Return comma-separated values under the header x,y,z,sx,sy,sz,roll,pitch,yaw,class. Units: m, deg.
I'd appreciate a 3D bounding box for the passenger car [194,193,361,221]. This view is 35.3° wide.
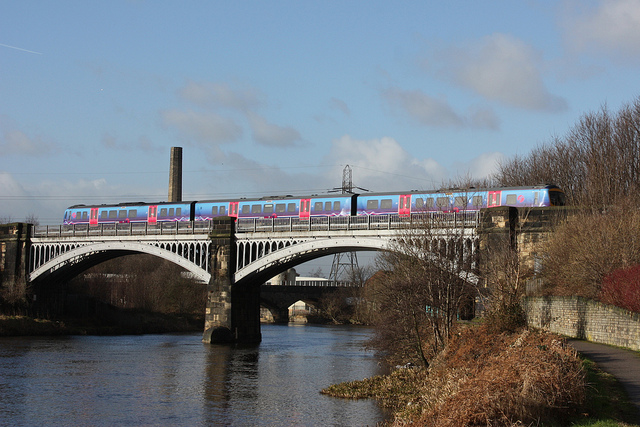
x,y,z,sx,sy,sz,roll,pitch,yaw,class
-3.558,0.243,94.079,17.265,3.753,2.512,-2,-18,1,passenger car

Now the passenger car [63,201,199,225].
x,y,z,sx,sy,sz,roll,pitch,yaw,class
-19.242,0.206,100.361,14.733,2.268,4.476,-3,-4,33,passenger car

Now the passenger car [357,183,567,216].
x,y,z,sx,sy,sz,roll,pitch,yaw,class
11.782,0.087,86.815,18.097,4.362,2.965,-2,-40,24,passenger car

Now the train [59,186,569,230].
x,y,z,sx,sy,sz,roll,pitch,yaw,class
-4.116,0.097,91.424,52.216,3.117,17.140,-4,-4,35,train
